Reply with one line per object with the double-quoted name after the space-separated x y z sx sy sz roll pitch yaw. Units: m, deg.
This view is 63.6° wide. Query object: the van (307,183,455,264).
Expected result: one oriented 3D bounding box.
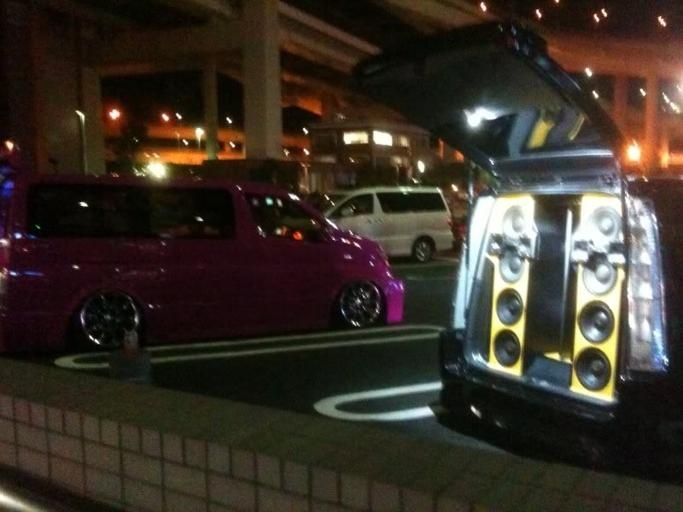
1.225 -1.025 16.196 4.220 1.841 1.694 1 1 -29 "van"
